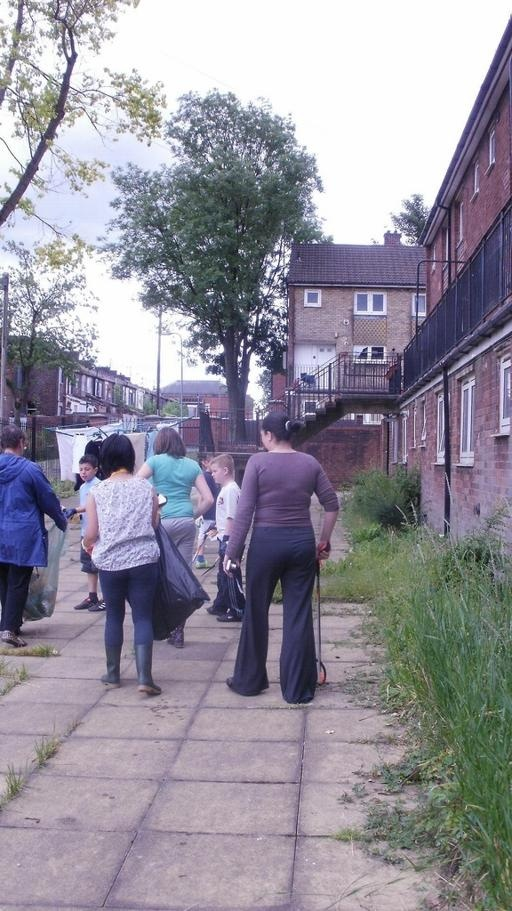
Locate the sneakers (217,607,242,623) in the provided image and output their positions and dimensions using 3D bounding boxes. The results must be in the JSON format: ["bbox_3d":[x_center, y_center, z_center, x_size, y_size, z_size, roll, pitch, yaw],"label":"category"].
[{"bbox_3d":[-0.221,1.412,7.342,0.260,0.137,0.097,3,-5,11],"label":"sneakers"}]

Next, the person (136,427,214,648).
[{"bbox_3d":[-0.631,0.551,6.391,0.535,1.640,0.349,4,11,9],"label":"person"}]

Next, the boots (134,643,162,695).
[{"bbox_3d":[-0.644,1.249,4.862,0.157,0.293,0.185,-1,0,-25],"label":"boots"}]

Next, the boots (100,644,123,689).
[{"bbox_3d":[-0.862,1.253,4.983,0.132,0.300,0.256,0,19,-10],"label":"boots"}]

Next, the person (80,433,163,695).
[{"bbox_3d":[-0.799,0.636,4.919,0.451,1.511,0.426,-1,0,-11],"label":"person"}]

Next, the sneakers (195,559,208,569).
[{"bbox_3d":[-0.705,1.361,10.429,0.063,0.157,0.148,11,19,32],"label":"sneakers"}]

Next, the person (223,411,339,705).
[{"bbox_3d":[0.148,0.579,4.786,0.654,1.655,0.371,-1,0,1],"label":"person"}]

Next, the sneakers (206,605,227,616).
[{"bbox_3d":[-0.355,1.393,7.457,0.201,0.104,0.080,6,1,11],"label":"sneakers"}]
